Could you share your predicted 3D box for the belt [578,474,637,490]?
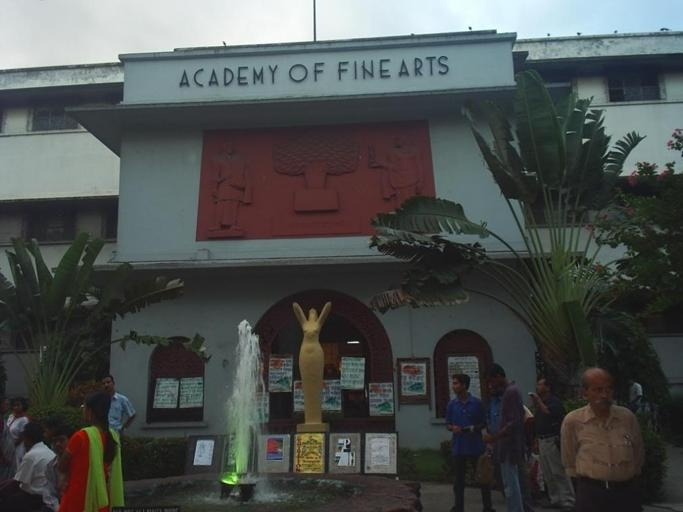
[{"bbox_3d":[3.250,2.741,8.412,0.700,0.135,0.203,-3,-12,8],"label":"belt"}]
